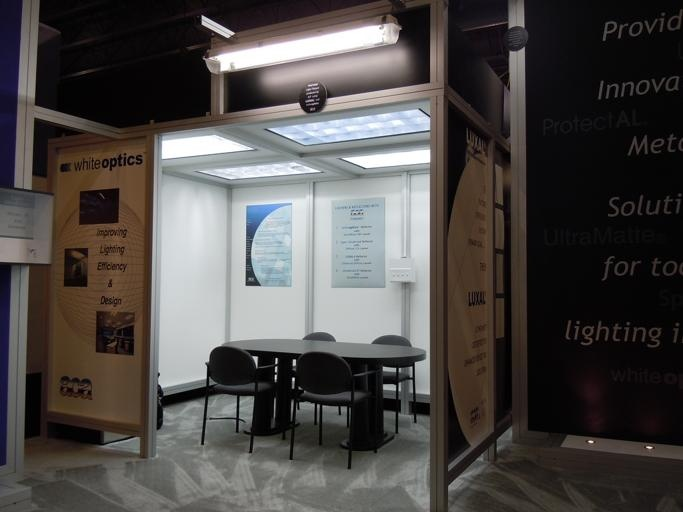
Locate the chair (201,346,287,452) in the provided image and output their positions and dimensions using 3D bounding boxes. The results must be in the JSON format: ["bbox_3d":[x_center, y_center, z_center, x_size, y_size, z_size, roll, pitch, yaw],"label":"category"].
[{"bbox_3d":[-1.153,1.404,5.073,0.656,0.923,0.656,-3,-11,38],"label":"chair"}]

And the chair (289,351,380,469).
[{"bbox_3d":[-0.160,1.281,4.258,0.619,0.934,0.641,6,-16,-11],"label":"chair"}]

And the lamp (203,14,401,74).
[{"bbox_3d":[-0.340,-1.632,3.869,1.596,0.215,0.116,0,0,21],"label":"lamp"}]

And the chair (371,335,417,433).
[{"bbox_3d":[0.569,1.399,5.679,0.626,0.943,0.633,3,-6,-18],"label":"chair"}]
